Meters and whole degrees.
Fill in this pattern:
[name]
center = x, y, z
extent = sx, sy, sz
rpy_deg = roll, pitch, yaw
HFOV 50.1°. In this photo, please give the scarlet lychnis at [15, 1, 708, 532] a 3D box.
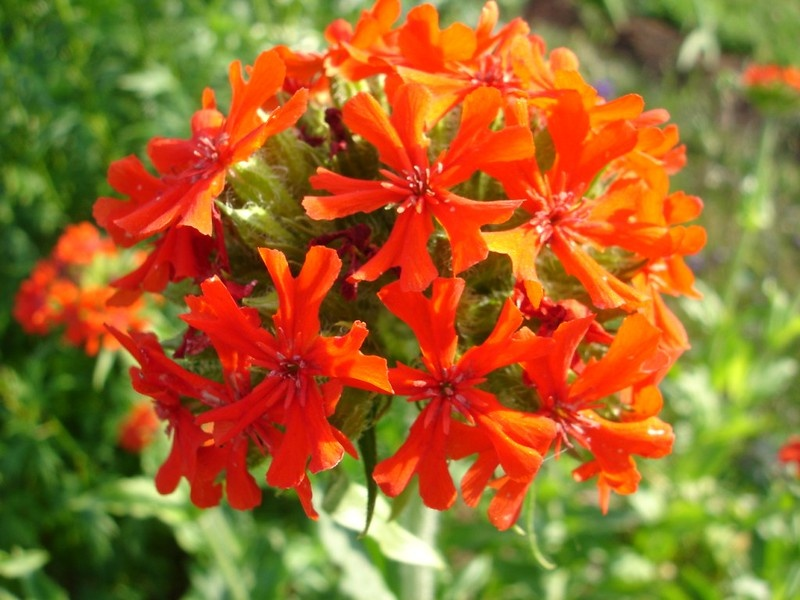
[scarlet lychnis]
center = -0.053, -0.097, 3.274
extent = 1.682, 1.388, 1.743
rpy_deg = 4, 89, -4
